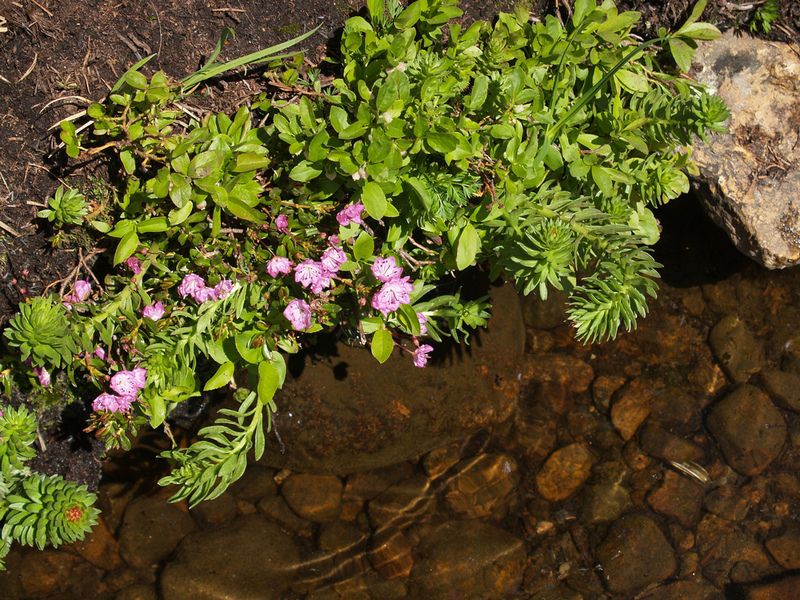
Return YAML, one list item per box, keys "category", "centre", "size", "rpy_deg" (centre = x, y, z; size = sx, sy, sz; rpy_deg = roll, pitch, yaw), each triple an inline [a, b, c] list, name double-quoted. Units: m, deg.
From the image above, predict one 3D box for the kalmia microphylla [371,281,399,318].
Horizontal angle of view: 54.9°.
- category: "kalmia microphylla"
  centre: [-0.059, -0.004, 3.661]
  size: [0.137, 0.122, 0.051]
  rpy_deg: [-38, 26, 11]

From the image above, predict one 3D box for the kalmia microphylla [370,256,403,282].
- category: "kalmia microphylla"
  centre: [-0.063, -0.136, 3.710]
  size: [0.134, 0.115, 0.135]
  rpy_deg: [-22, 69, -10]
